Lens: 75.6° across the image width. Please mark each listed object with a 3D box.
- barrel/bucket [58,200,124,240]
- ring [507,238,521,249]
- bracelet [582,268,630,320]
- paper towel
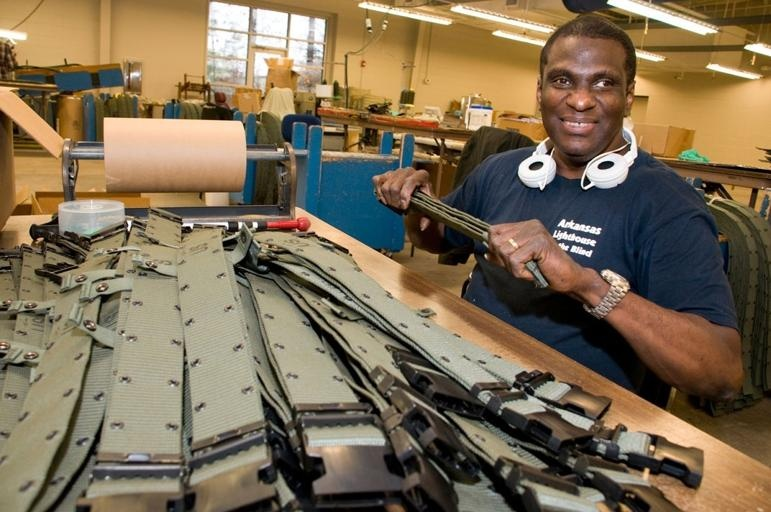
[{"bbox_3d":[-0.901,-0.126,1.543,0.172,0.100,0.162,2,10,0],"label":"barrel/bucket"},{"bbox_3d":[0.301,-0.028,1.165,0.006,0.022,0.020,-35,44,12],"label":"ring"},{"bbox_3d":[0.560,0.093,1.290,0.090,0.131,0.134,18,13,12],"label":"bracelet"},{"bbox_3d":[-0.769,-0.364,1.775,0.491,0.231,0.332,-10,31,-38],"label":"paper towel"}]
